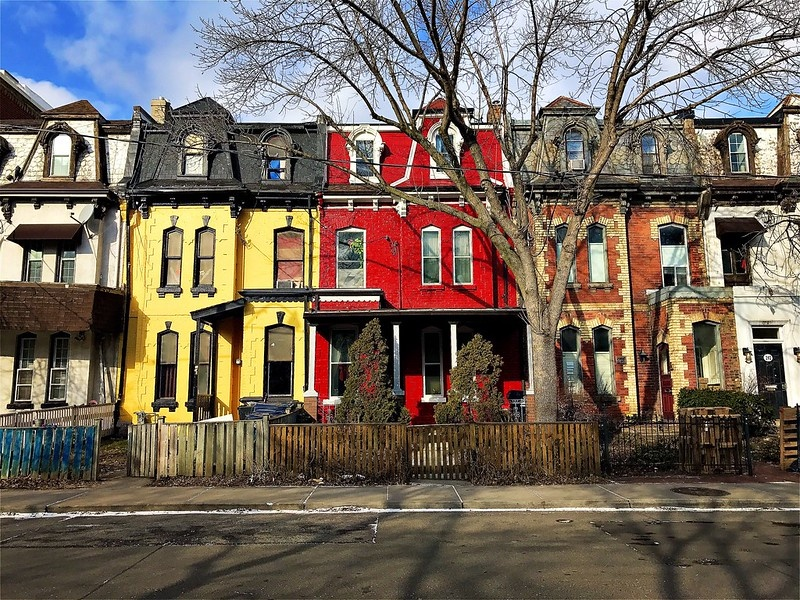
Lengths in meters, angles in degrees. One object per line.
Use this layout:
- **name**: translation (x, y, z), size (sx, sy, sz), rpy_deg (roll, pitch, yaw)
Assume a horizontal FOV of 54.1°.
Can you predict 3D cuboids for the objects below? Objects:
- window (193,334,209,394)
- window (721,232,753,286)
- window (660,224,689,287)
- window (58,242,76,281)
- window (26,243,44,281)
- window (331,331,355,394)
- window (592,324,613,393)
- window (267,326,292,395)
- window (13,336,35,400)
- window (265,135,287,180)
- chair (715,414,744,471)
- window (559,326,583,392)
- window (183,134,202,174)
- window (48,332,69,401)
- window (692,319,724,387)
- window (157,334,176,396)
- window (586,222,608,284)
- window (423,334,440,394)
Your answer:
- **window**: translation (-7.029, 2.279, 28.018), size (0.540, 2.378, 0.094), rpy_deg (0, -6, 8)
- **window**: translation (12.423, -1.514, 29.179), size (0.968, 1.975, 0.158), rpy_deg (-2, 31, 25)
- **window**: translation (10.170, -1.639, 29.148), size (1.007, 2.553, 0.220), rpy_deg (-1, -15, 11)
- **window**: translation (-11.986, -1.401, 28.318), size (0.572, 1.840, 0.108), rpy_deg (6, -17, -31)
- **window**: translation (-13.161, -1.264, 28.230), size (0.122, 1.471, 0.545), rpy_deg (13, 9, 42)
- **window**: translation (-2.067, 2.222, 27.714), size (0.867, 2.125, 1.034), rpy_deg (-1, 11, 1)
- **window**: translation (7.307, 2.163, 28.231), size (0.691, 2.232, 0.855), rpy_deg (1, 11, 9)
- **window**: translation (-4.329, 2.161, 28.040), size (0.939, 2.311, 0.814), rpy_deg (-2, 11, -4)
- **window**: translation (-13.309, 2.381, 27.763), size (0.675, 2.198, 0.868), rpy_deg (-1, 11, 0)
- **window**: translation (-4.643, -5.363, 29.268), size (0.874, 1.875, 0.203), rpy_deg (-1, 24, -12)
- **chair**: translation (8.949, 3.886, 21.210), size (0.764, 1.492, 0.500), rpy_deg (0, 11, 6)
- **window**: translation (6.136, 2.136, 28.243), size (0.736, 2.172, 0.900), rpy_deg (0, 11, 5)
- **window**: translation (-7.585, -5.426, 28.674), size (0.868, 1.965, 0.141), rpy_deg (-1, 37, -16)
- **window**: translation (-12.077, 2.444, 27.881), size (0.503, 2.266, 0.187), rpy_deg (0, -11, -4)
- **window**: translation (10.966, 1.847, 27.908), size (0.348, 3.272, 1.783), rpy_deg (5, -10, -16)
- **window**: translation (-8.315, 2.306, 28.009), size (0.743, 2.511, 0.215), rpy_deg (3, -5, -35)
- **window**: translation (7.283, -1.808, 29.062), size (0.827, 3.471, 0.158), rpy_deg (2, -44, 9)
- **window**: translation (1.136, 2.274, 28.070), size (0.737, 2.539, 0.141), rpy_deg (-1, 10, 6)
